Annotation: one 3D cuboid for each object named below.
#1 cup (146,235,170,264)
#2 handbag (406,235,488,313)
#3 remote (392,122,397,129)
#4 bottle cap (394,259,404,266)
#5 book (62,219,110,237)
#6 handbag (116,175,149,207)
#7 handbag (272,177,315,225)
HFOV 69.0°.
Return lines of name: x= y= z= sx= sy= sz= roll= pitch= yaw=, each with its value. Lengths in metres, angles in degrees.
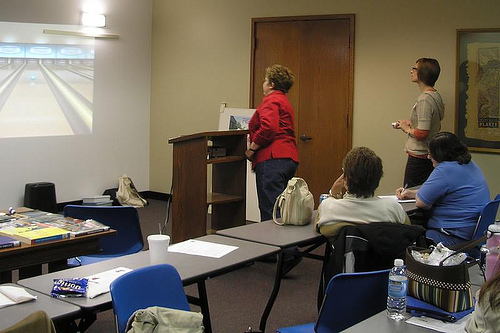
cup: x=-0.550 y=0.495 z=2.181 sx=0.153 sy=0.162 sz=0.152 roll=1 pitch=-6 yaw=0
handbag: x=1.043 y=0.545 z=1.947 sx=0.287 sy=0.389 sz=0.434 roll=-2 pitch=3 yaw=-17
remote: x=1.815 y=-0.513 z=4.547 sx=0.093 sy=0.095 sz=0.023 roll=1 pitch=-1 yaw=-20
bottle cap: x=0.783 y=0.495 z=1.902 sx=0.042 sy=0.037 sz=0.042 roll=1 pitch=-1 yaw=-34
book: x=-1.345 y=0.504 z=2.944 sx=0.272 sy=0.055 sz=0.305 roll=5 pitch=9 yaw=37
handbag: x=-2.422 y=0.456 z=7.330 sx=0.530 sy=0.493 sz=0.458 roll=-10 pitch=37 yaw=-5
handbag: x=0.419 y=0.304 z=3.274 sx=0.299 sy=0.373 sz=0.548 roll=3 pitch=7 yaw=31
